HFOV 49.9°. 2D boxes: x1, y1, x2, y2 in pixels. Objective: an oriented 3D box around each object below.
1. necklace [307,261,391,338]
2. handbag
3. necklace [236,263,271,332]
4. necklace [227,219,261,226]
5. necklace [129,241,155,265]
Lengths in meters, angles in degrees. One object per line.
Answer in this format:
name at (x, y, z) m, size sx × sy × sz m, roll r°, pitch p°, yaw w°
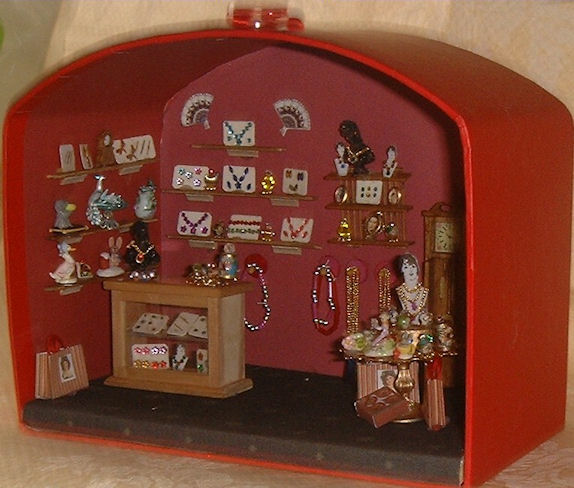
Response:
necklace at (0.627, 0.511, 5.883) m, size 1.131 × 0.678 × 0.102 m, roll -1°, pitch -3°, yaw 9°
handbag at (-2.014, 1.107, 5.490) m, size 0.275 × 0.530 × 0.695 m, roll -12°, pitch -4°, yaw 31°
necklace at (-0.326, 0.546, 6.145) m, size 0.536 × 0.567 × 0.144 m, roll -4°, pitch 4°, yaw 7°
necklace at (-0.417, -0.217, 6.228) m, size 0.288 × 0.058 × 0.014 m, roll 4°, pitch -10°, yaw 14°
necklace at (-1.393, 0.085, 5.939) m, size 0.283 × 0.189 × 0.077 m, roll -4°, pitch -8°, yaw -9°
